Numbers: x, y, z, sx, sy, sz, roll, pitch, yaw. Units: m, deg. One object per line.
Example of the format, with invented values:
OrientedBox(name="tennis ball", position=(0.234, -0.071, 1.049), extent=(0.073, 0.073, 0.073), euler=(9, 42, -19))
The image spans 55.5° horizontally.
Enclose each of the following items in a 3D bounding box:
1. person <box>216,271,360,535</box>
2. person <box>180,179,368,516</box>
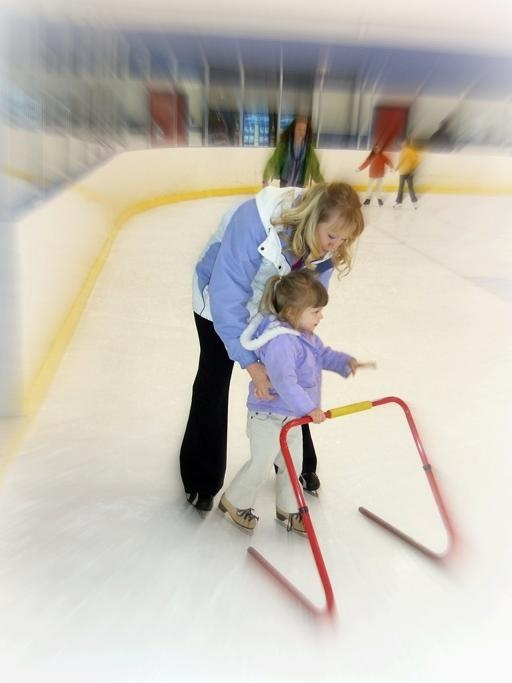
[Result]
OrientedBox(name="person", position=(0.114, 0.213, 1.479), extent=(0.468, 0.774, 0.306), euler=(2, 10, 3))
OrientedBox(name="person", position=(0.023, 0.092, 1.509), extent=(0.476, 1.162, 0.346), euler=(3, 23, -8))
